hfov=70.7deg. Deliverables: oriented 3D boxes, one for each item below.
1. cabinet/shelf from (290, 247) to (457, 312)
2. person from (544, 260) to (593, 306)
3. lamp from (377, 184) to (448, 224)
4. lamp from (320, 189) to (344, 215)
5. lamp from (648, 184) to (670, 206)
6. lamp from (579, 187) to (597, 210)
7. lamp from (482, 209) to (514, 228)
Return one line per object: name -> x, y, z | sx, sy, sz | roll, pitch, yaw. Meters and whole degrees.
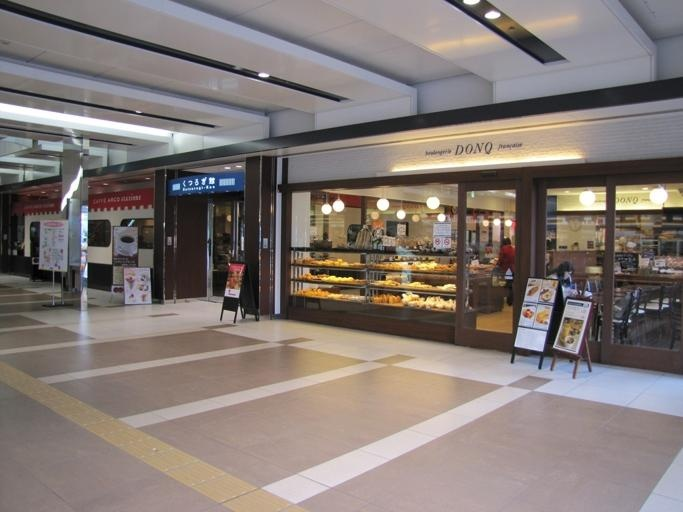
cabinet/shelf -> 0.612, 0.360, 9.907 | 3.228, 1.012, 1.035 | 2, 5, 10
person -> 3.506, 0.394, 7.462 | 0.512, 1.056, 0.603 | -2, -4, -8
lamp -> 1.337, -0.971, 8.945 | 0.226, 0.634, 1.739 | -3, 5, -44
lamp -> -0.190, -1.139, 10.099 | 0.557, 0.470, 0.220 | 1, -1, 43
lamp -> 4.455, -0.842, 6.792 | 0.252, 0.283, 0.253 | 4, 5, 33
lamp -> 3.725, -0.869, 7.319 | 0.246, 0.281, 0.241 | 1, 1, 6
lamp -> 2.568, -0.617, 8.009 | 0.103, 0.288, 0.603 | -2, 5, -40
